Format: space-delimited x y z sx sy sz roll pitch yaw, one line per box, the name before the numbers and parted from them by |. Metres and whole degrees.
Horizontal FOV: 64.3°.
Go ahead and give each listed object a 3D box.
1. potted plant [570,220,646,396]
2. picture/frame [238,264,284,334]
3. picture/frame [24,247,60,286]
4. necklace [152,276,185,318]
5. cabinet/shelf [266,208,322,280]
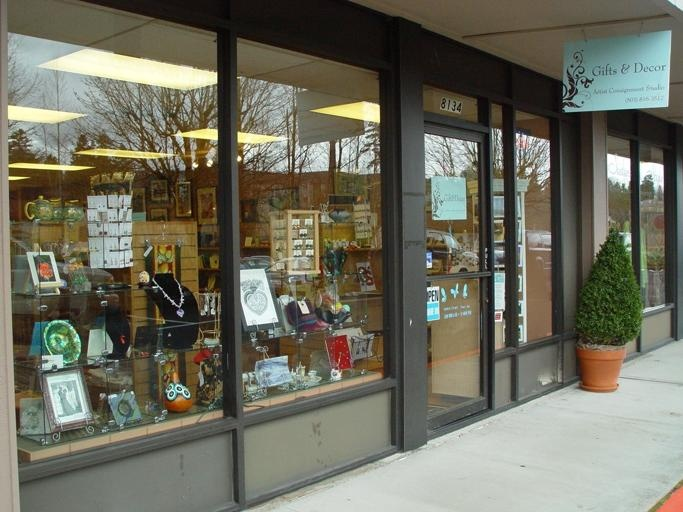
potted plant | 3.440 0.689 7.003 0.764 2.107 0.389 0 2 1
picture/frame | -0.650 0.340 4.297 0.082 0.630 0.550 -14 -5 27
picture/frame | -1.867 0.067 3.381 0.028 0.295 0.221 -18 -15 33
necklace | -1.244 0.289 4.014 0.187 0.297 0.076 -32 -6 -26
cabinet/shelf | -0.407 -0.206 4.715 0.424 0.619 0.360 -2 30 -6
